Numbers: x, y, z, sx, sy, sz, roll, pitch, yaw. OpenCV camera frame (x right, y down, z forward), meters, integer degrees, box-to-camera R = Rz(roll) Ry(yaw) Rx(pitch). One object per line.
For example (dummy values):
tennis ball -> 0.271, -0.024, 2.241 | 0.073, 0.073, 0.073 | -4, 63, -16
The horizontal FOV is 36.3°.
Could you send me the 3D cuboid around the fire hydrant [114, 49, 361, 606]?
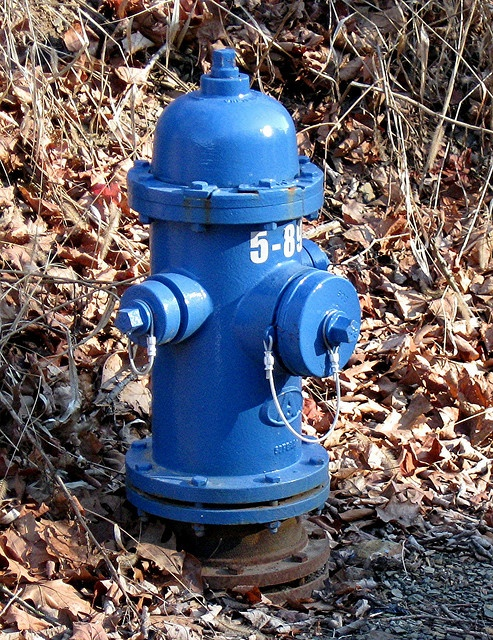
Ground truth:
fire hydrant -> -0.045, 0.100, 2.240 | 0.752, 1.657, 0.788 | 1, 32, 7
